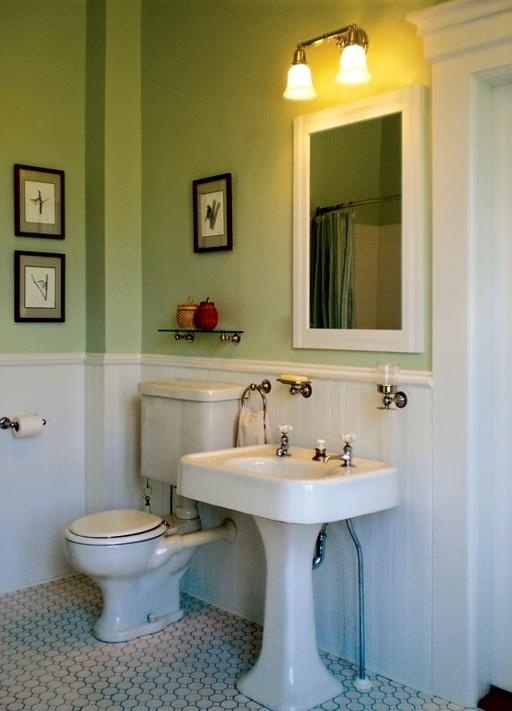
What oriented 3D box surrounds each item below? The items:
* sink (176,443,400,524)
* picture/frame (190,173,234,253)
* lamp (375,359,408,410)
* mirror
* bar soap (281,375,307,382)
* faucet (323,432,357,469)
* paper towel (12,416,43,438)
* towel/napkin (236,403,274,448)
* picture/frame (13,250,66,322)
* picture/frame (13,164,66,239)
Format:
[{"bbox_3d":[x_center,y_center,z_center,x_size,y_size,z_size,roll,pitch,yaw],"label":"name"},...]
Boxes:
[{"bbox_3d":[0.076,0.364,1.735,0.423,0.133,0.590,-1,2,-42],"label":"sink"},{"bbox_3d":[-0.176,-0.595,2.445,0.035,0.408,0.317,-3,4,-35],"label":"picture/frame"},{"bbox_3d":[0.401,0.096,1.724,0.083,0.136,0.148,1,1,14],"label":"lamp"},{"bbox_3d":[0.308,-0.415,1.868,0.037,0.804,0.536,-1,2,-38],"label":"mirror"},{"bbox_3d":[0.129,0.086,2.024,0.101,0.028,0.061,0,1,4],"label":"bar soap"},{"bbox_3d":[0.269,0.291,1.751,0.114,0.134,0.060,-3,-4,25],"label":"faucet"},{"bbox_3d":[-1.000,0.312,2.592,0.107,0.099,0.095,-13,-10,-33],"label":"paper towel"},{"bbox_3d":[-0.020,0.268,2.198,0.092,0.143,0.155,0,1,-30],"label":"towel/napkin"},{"bbox_3d":[-1.000,-0.319,2.693,0.018,0.474,0.302,0,0,42],"label":"picture/frame"},{"bbox_3d":[-0.985,-0.703,2.687,0.210,0.337,0.019,-1,-12,-20],"label":"picture/frame"}]
